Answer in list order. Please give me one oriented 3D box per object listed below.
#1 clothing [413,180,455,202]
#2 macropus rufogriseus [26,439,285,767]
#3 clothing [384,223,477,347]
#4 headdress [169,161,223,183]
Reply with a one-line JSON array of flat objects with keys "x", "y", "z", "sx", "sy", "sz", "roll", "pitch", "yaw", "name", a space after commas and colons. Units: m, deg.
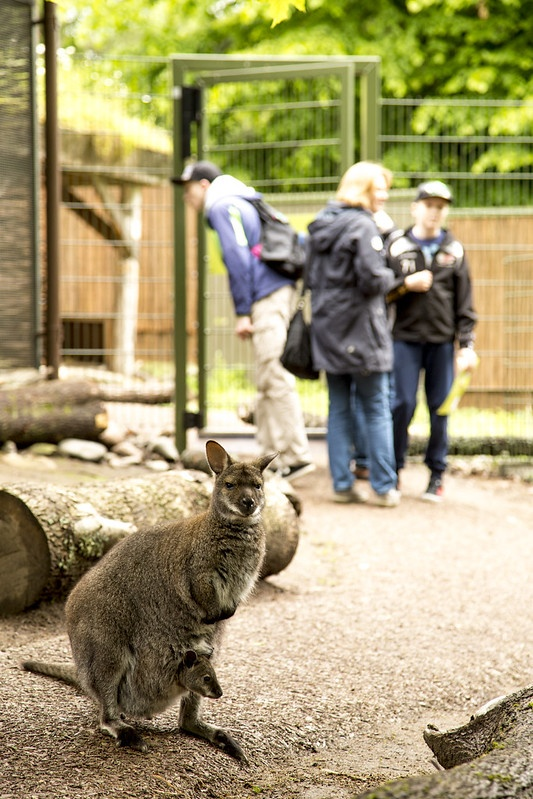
[{"x": 0.941, "y": -1.166, "z": 7.305, "sx": 0.128, "sy": 0.095, "sz": 0.185, "roll": 6, "pitch": 15, "yaw": -2, "name": "clothing"}, {"x": -0.437, "y": 0.566, "z": 4.261, "sx": 1.221, "sy": 1.098, "sz": 0.415, "roll": 7, "pitch": 7, "yaw": 43, "name": "macropus rufogriseus"}, {"x": 0.924, "y": -0.639, "z": 7.437, "sx": 0.698, "sy": 0.814, "sz": 0.425, "roll": -1, "pitch": 5, "yaw": 0, "name": "clothing"}, {"x": -0.437, "y": -1.360, "z": 7.785, "sx": 0.245, "sy": 0.144, "sz": 0.158, "roll": 1, "pitch": 4, "yaw": 8, "name": "headdress"}]
